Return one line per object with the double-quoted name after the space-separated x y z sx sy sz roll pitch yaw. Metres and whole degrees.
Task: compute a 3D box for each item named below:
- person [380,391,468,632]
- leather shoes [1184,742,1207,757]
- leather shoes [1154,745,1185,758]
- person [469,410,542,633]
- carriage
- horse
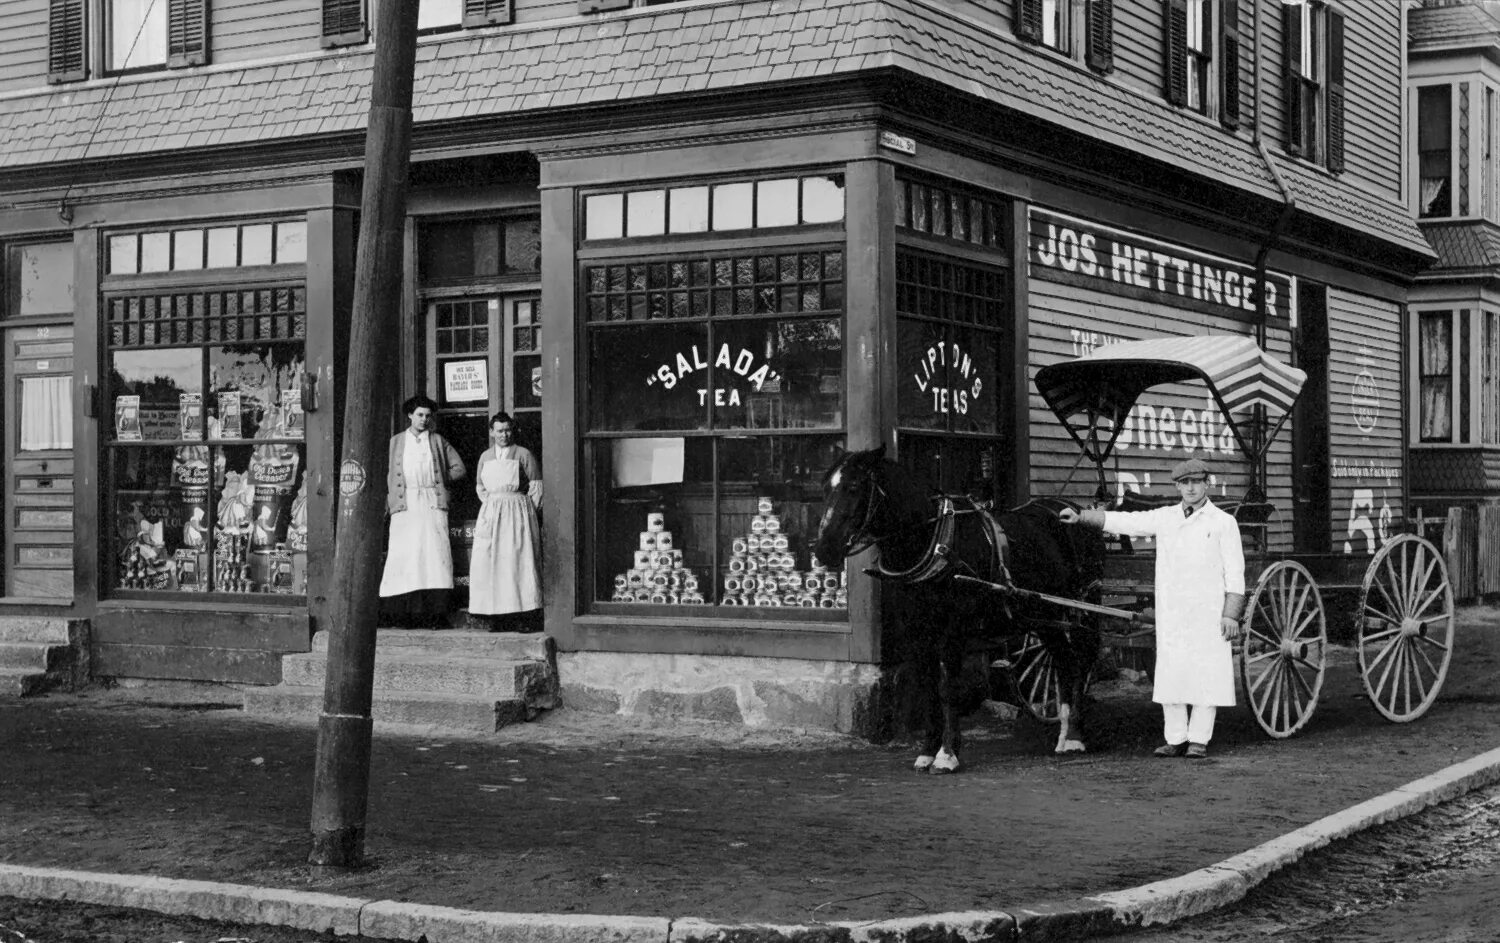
-3.739 0.468 22.802 0.972 2.522 0.720 -3 14 -11 "person"
4.409 2.718 19.954 0.203 0.110 0.201 2 14 9 "leather shoes"
4.173 2.748 20.068 0.321 0.135 0.111 4 -5 -9 "leather shoes"
-2.711 0.479 22.397 0.825 2.049 0.683 -1 14 -4 "person"
3.809 0.691 21.091 3.816 4.033 6.792 -6 -9 44 "carriage"
2.367 1.404 20.530 4.520 3.044 1.233 2 -2 -43 "horse"
